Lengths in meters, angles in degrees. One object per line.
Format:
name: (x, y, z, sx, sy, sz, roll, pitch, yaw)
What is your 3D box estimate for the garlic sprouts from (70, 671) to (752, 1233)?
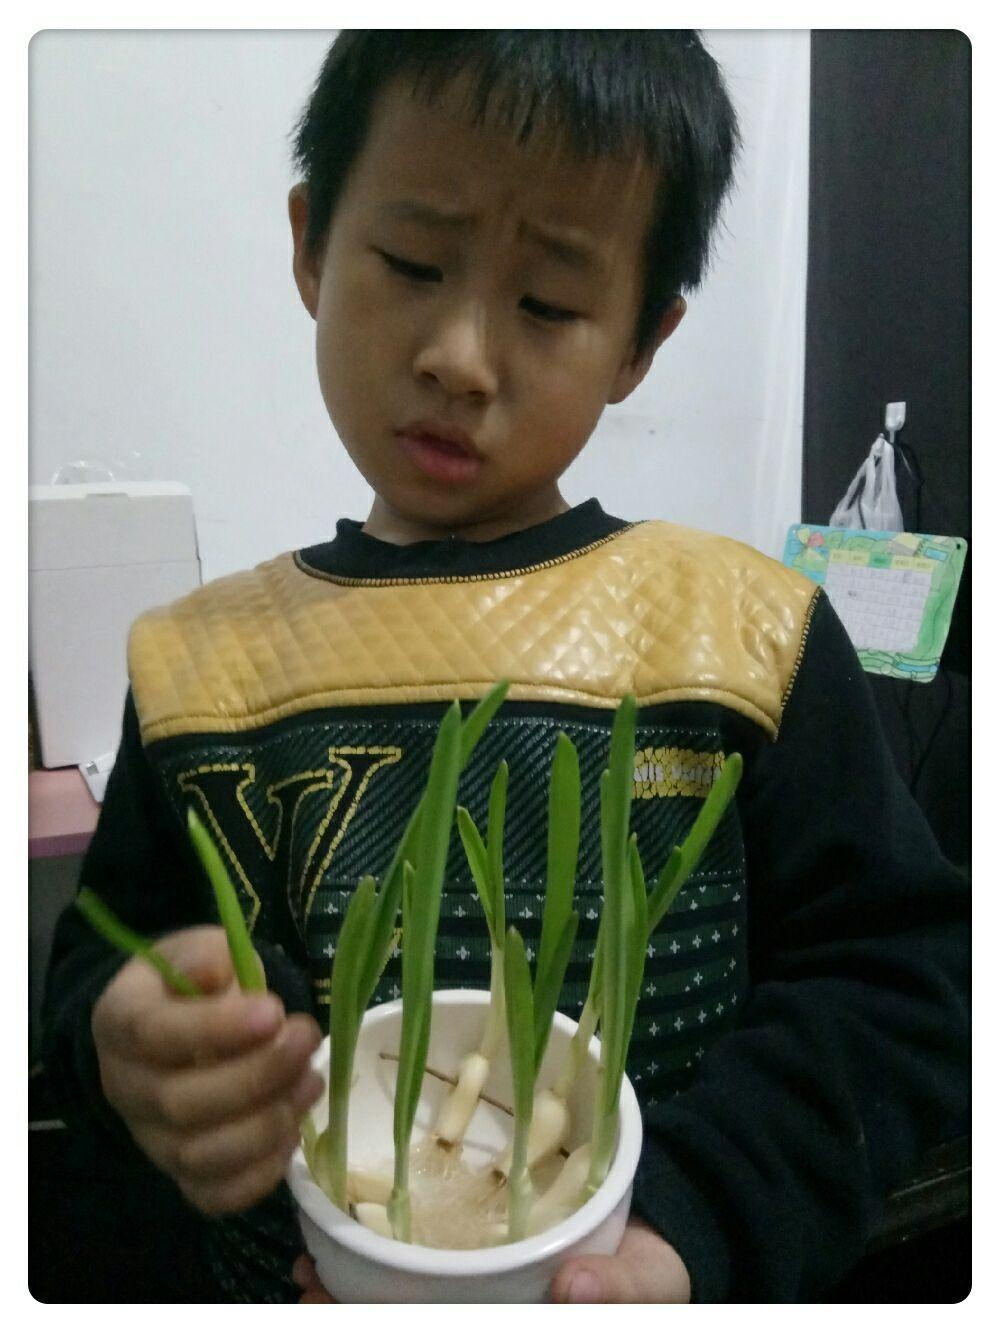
garlic sprouts: (-0.015, 0.102, 0.396, 0.172, 0.252, 0.199, 3, 13, 7)

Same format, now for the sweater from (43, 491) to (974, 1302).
sweater: (0.005, 0.084, 0.672, 0.406, 0.615, 0.299, 0, 4, -2)
